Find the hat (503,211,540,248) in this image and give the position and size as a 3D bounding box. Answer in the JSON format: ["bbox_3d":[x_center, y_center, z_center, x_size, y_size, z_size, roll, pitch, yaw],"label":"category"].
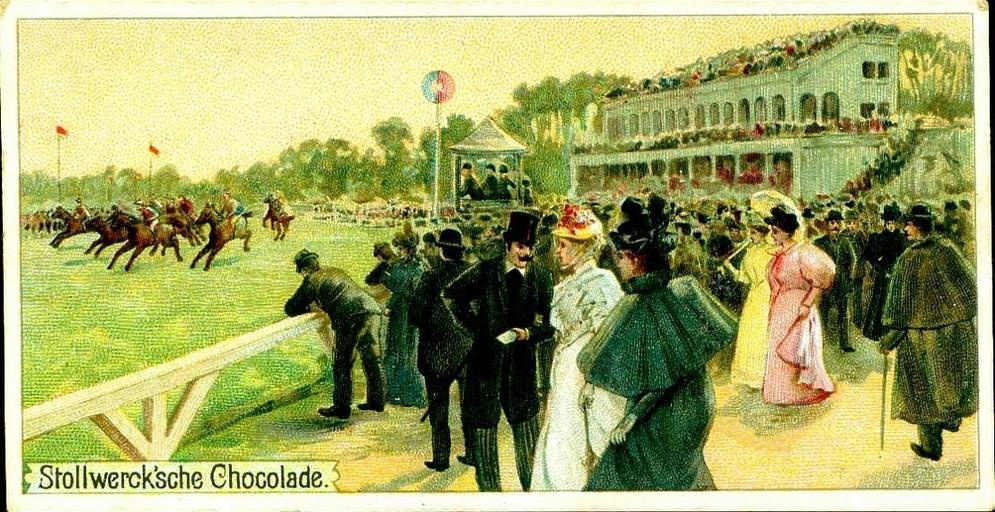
[{"bbox_3d":[0.348,-0.400,14.038,0.440,0.305,0.513,10,-5,-27],"label":"hat"}]

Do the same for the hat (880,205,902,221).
[{"bbox_3d":[5.795,-0.633,14.214,0.256,0.246,0.067,15,-6,-5],"label":"hat"}]
